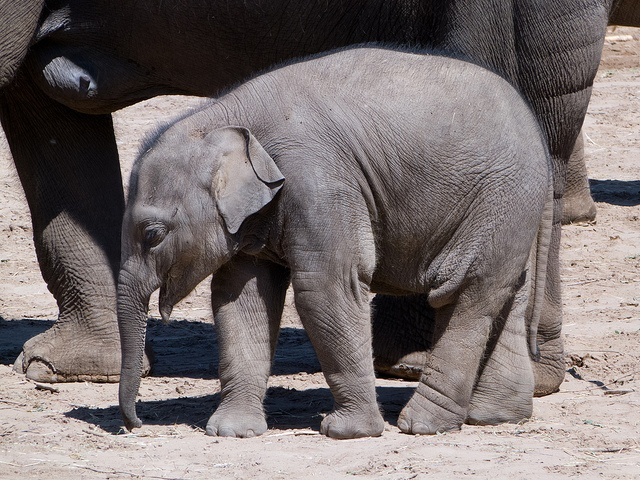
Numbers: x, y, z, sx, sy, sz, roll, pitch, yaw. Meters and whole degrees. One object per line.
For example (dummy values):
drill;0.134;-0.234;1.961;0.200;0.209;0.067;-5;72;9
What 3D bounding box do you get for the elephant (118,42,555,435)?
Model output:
elephant;0.143;0.087;5.924;2.253;1.548;0.983;-2;-8;9
